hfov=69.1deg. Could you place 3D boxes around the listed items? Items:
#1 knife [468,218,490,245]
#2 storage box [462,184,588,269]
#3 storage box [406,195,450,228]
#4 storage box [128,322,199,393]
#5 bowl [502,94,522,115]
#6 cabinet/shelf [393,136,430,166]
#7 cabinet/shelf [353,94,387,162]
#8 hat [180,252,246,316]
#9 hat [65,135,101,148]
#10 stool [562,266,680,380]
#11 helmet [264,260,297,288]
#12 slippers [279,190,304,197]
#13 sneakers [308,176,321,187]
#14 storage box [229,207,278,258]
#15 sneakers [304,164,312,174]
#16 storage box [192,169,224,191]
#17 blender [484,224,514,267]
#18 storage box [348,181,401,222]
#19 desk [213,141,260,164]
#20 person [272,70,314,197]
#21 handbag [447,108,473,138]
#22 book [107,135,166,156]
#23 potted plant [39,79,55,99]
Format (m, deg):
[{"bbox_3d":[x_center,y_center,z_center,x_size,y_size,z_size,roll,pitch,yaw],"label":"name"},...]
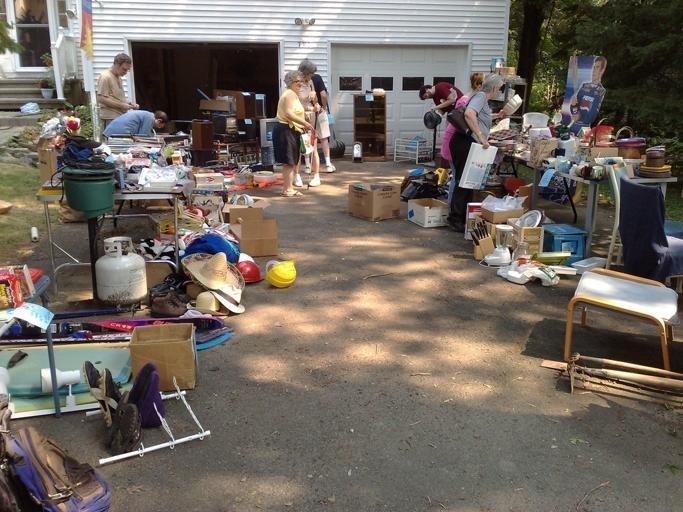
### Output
[{"bbox_3d":[1.739,-0.293,6.203,0.232,0.092,0.335,-2,53,10],"label":"knife"},{"bbox_3d":[2.251,-0.323,6.030,1.213,0.584,0.993,-4,35,-12],"label":"storage box"},{"bbox_3d":[1.325,-0.673,7.540,0.607,0.279,0.521,-2,16,-10],"label":"storage box"},{"bbox_3d":[-1.157,0.671,3.569,0.582,0.423,0.496,-1,14,-8],"label":"storage box"},{"bbox_3d":[3.110,-2.688,8.852,0.274,0.388,0.670,16,28,26],"label":"bowl"},{"bbox_3d":[1.890,-2.755,13.154,0.659,0.643,1.067,-13,23,-31],"label":"cabinet/shelf"},{"bbox_3d":[0.757,-3.386,13.058,0.810,1.734,0.601,-1,16,-5],"label":"cabinet/shelf"},{"bbox_3d":[-1.216,0.232,4.744,0.556,0.524,0.658,-4,15,-16],"label":"hat"},{"bbox_3d":[-2.407,-1.059,4.615,0.192,0.083,0.213,7,3,9],"label":"hat"},{"bbox_3d":[2.079,0.495,3.894,0.829,0.471,1.072,12,24,33],"label":"stool"},{"bbox_3d":[-0.635,0.193,5.219,0.320,0.259,0.275,-1,15,-8],"label":"helmet"},{"bbox_3d":[-0.922,-1.165,9.285,0.438,0.128,0.131,-3,14,-10],"label":"slippers"},{"bbox_3d":[-0.533,-1.503,10.189,0.152,0.205,0.371,3,3,39],"label":"sneakers"},{"bbox_3d":[-1.069,-0.336,6.403,0.583,0.446,0.834,-5,14,-19],"label":"storage box"},{"bbox_3d":[-0.729,-1.906,11.001,0.157,0.146,0.405,-1,5,-3],"label":"sneakers"},{"bbox_3d":[-1.971,-1.134,7.420,0.587,0.267,0.493,-1,16,-9],"label":"storage box"},{"bbox_3d":[1.876,-0.133,5.882,0.333,0.472,0.383,5,16,16],"label":"blender"},{"bbox_3d":[0.492,-0.879,7.973,0.806,0.447,0.725,-2,8,-28],"label":"storage box"},{"bbox_3d":[-2.290,-2.268,10.941,0.647,0.483,1.221,15,18,40],"label":"desk"},{"bbox_3d":[-0.869,-2.137,8.913,0.690,2.173,0.949,-1,16,-6],"label":"person"},{"bbox_3d":[1.671,-1.850,6.863,0.261,0.396,0.423,-5,15,-19],"label":"handbag"},{"bbox_3d":[-2.561,-1.375,6.186,0.868,0.152,0.770,-3,8,-22],"label":"book"},{"bbox_3d":[-7.595,-4.306,12.811,0.342,0.513,0.456,-8,17,-28],"label":"potted plant"}]
